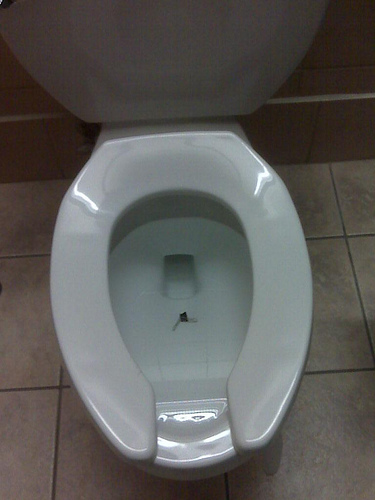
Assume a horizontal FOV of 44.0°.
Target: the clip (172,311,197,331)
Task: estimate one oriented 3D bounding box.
[{"bbox_3d":[-0.005,0.114,0.751,0.054,0.023,0.019,1,94,11],"label":"clip"}]
